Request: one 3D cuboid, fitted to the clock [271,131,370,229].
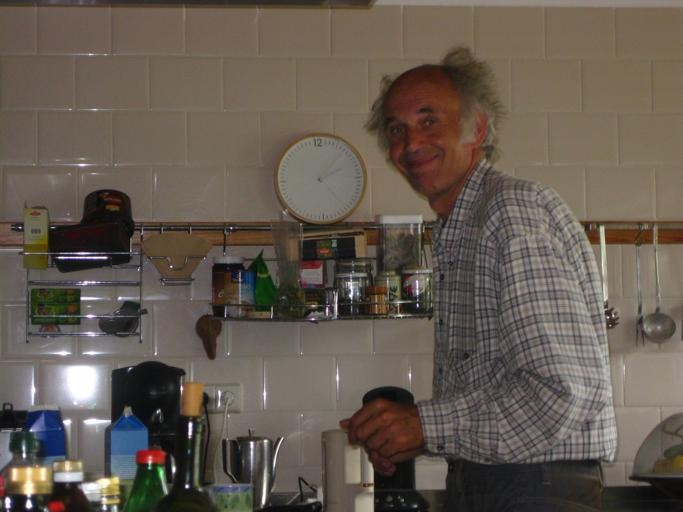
[{"bbox_3d":[-0.092,-0.276,5.584,0.287,0.334,0.035,-7,-8,-5],"label":"clock"}]

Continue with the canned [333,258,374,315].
[{"bbox_3d":[0.042,0.123,5.370,0.166,0.265,0.171,1,-11,-2],"label":"canned"}]

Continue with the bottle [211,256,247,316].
[{"bbox_3d":[-0.425,0.092,5.378,0.168,0.184,0.093,-4,-6,28],"label":"bottle"}]

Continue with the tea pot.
[{"bbox_3d":[-0.333,0.748,5.154,0.233,0.288,0.164,-1,-1,-23],"label":"tea pot"}]
